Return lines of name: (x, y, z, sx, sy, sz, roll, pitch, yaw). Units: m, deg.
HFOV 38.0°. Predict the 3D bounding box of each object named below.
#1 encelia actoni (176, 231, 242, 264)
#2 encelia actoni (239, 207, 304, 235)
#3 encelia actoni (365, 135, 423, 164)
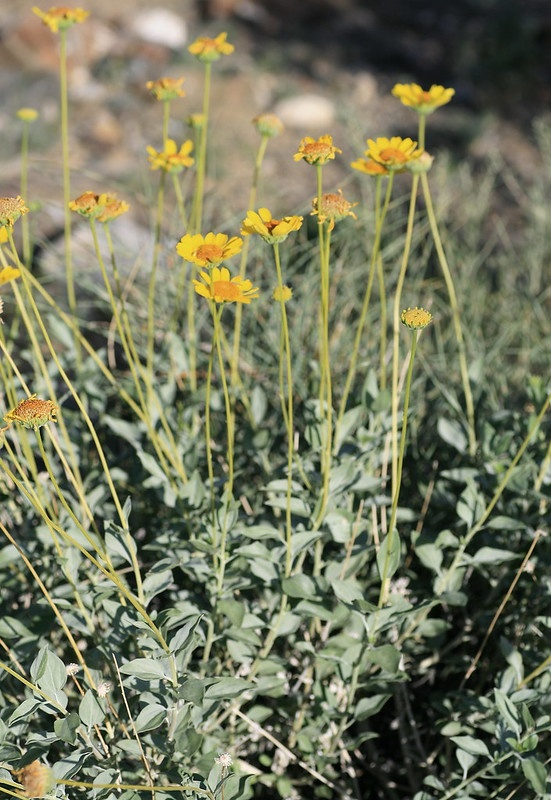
encelia actoni: (-0.082, -0.179, 0.944, 0.057, 0.022, 0.056, 9, 33, 33)
encelia actoni: (0.003, -0.208, 0.937, 0.054, 0.021, 0.051, -15, 28, -29)
encelia actoni: (0.150, -0.309, 0.992, 0.055, 0.020, 0.051, -13, 32, -28)
